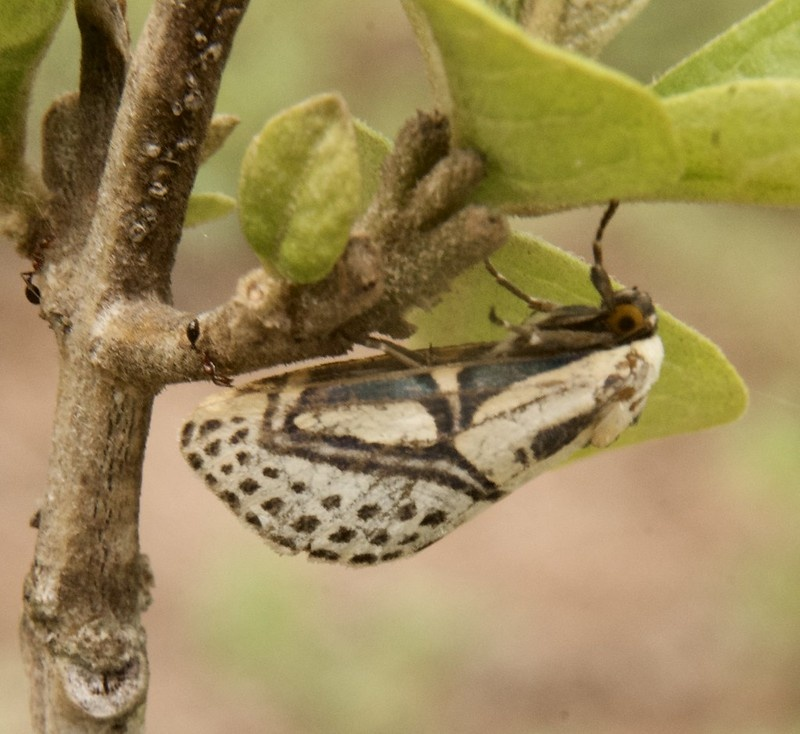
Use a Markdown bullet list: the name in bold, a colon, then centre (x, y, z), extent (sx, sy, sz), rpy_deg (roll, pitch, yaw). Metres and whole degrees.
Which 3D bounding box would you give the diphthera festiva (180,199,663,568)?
- **diphthera festiva**: centre (0.039, 0.026, 1.030), extent (0.499, 0.183, 0.179), rpy_deg (-14, 100, -5)
